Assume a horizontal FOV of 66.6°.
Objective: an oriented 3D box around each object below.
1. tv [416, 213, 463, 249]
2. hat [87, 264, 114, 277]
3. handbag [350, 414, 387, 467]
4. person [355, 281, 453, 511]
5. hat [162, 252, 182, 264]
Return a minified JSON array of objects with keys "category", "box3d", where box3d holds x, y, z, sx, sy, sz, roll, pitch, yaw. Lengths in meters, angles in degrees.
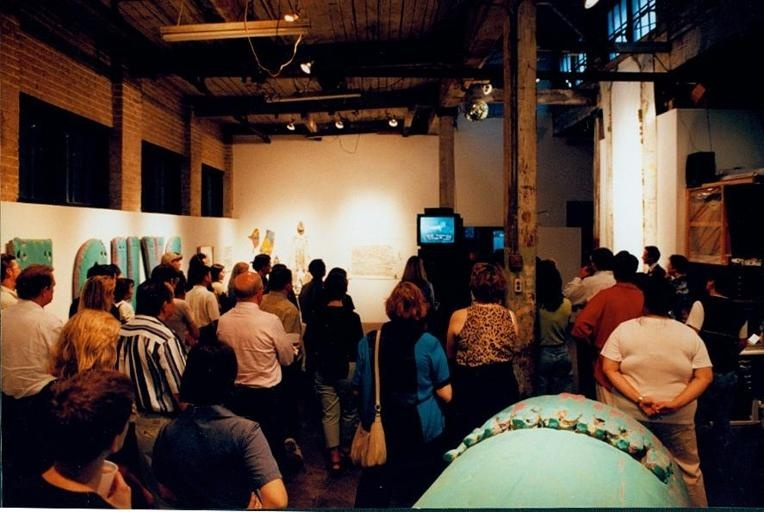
[{"category":"tv","box3d":[1.045,-0.475,10.261,0.787,0.592,0.440,2,5,32]},{"category":"hat","box3d":[-3.129,0.163,6.497,0.237,0.181,0.228,3,-3,-38]},{"category":"handbag","box3d":[-0.137,1.748,5.454,0.410,0.463,0.244,-13,-20,43]},{"category":"person","box3d":[0.178,1.319,5.463,0.912,2.114,0.372,-1,1,6]},{"category":"hat","box3d":[-2.830,0.038,7.842,0.267,0.144,0.190,-15,15,-23]}]
